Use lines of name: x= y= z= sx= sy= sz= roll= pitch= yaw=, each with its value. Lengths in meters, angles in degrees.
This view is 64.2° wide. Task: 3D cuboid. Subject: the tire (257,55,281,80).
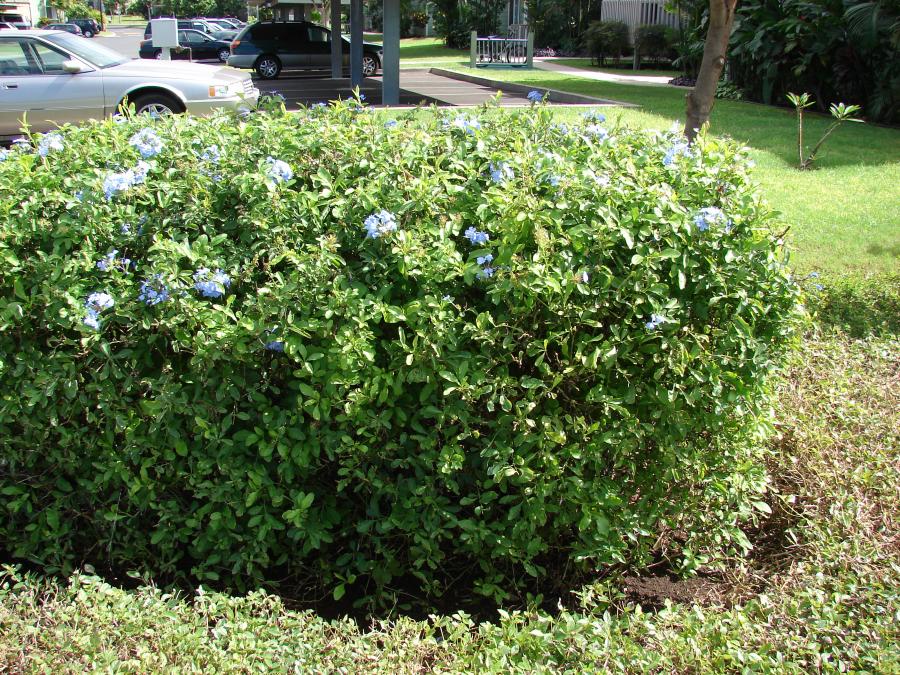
tire: x=-5.852 y=-8.749 z=23.024 sx=0.773 sy=0.766 sz=0.251 roll=-11 pitch=25 yaw=-20
